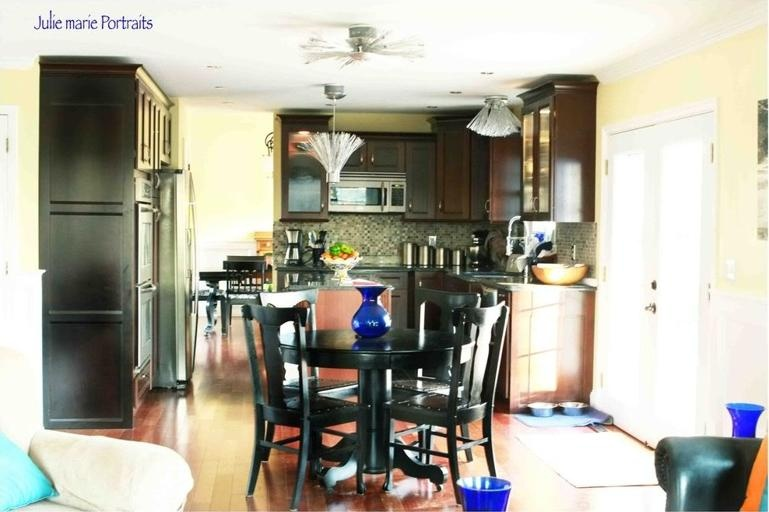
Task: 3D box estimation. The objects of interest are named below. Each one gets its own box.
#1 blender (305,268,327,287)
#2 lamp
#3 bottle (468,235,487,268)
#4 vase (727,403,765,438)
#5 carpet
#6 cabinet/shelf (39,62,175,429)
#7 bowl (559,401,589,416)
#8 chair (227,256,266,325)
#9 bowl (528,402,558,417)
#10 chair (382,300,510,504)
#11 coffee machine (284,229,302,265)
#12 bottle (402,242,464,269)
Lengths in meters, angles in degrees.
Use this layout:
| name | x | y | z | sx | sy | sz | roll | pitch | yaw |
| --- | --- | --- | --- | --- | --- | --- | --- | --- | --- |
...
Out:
| name | x | y | z | sx | sy | sz | roll | pitch | yaw |
| --- | --- | --- | --- | --- | --- | --- | --- | --- | --- |
| blender | -0.795 | 0.248 | 7.026 | 0.221 | 0.372 | 0.209 | 1 | -3 | 5 |
| lamp | -0.203 | -1.637 | 4.843 | 1.049 | 0.212 | 1.033 | 2 | 2 | 11 |
| bottle | 1.219 | -0.068 | 7.861 | 0.211 | 0.447 | 0.330 | 3 | 3 | 8 |
| vase | 1.814 | 0.836 | 3.010 | 0.158 | 0.174 | 0.326 | 3 | 3 | 27 |
| carpet | 1.681 | 1.566 | 4.642 | 1.007 | 0.047 | 0.978 | 1 | 2 | -9 |
| cabinet/shelf | -2.566 | -0.106 | 5.171 | 0.885 | 3.187 | 0.304 | 2 | 3 | 6 |
| bowl | 1.816 | 1.432 | 5.641 | 0.271 | 0.089 | 0.167 | 1 | 2 | -18 |
| chair | -2.156 | 0.542 | 9.148 | 0.880 | 0.937 | 0.743 | -1 | -3 | 5 |
| bowl | 1.506 | 1.431 | 5.610 | 0.288 | 0.095 | 0.173 | 2 | 2 | -6 |
| chair | 0.476 | 0.939 | 4.240 | 0.730 | 1.288 | 1.044 | 3 | 3 | 15 |
| coffee machine | -1.187 | -0.129 | 7.788 | 0.214 | 0.461 | 0.115 | 1 | 3 | -14 |
| bottle | 0.638 | -0.029 | 7.872 | 0.884 | 0.308 | 0.412 | 2 | 2 | 5 |
